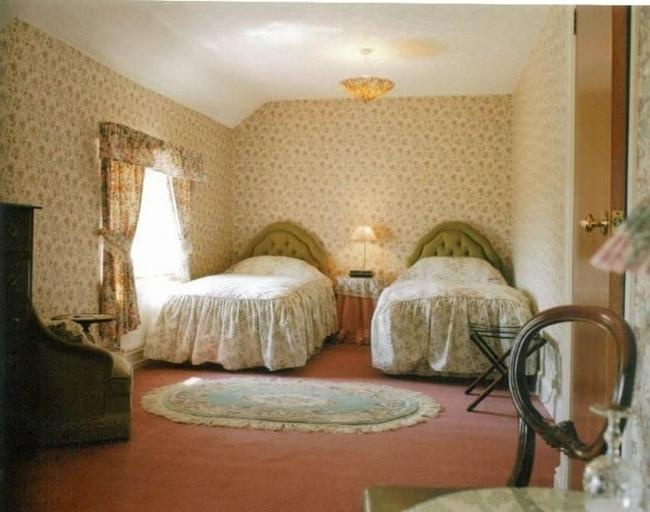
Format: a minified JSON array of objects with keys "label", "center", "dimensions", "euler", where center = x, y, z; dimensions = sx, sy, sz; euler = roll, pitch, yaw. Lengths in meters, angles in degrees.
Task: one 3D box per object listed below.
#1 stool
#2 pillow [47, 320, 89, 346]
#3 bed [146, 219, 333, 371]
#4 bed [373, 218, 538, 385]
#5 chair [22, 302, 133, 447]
[{"label":"stool","center":[1.408,0.938,4.522],"dimensions":[0.586,0.566,0.406],"euler":[8,9,-10]},{"label":"pillow","center":[-1.718,0.498,3.800],"dimensions":[0.188,0.063,0.193],"euler":[15,-5,21]},{"label":"bed","center":[-0.749,0.343,6.202],"dimensions":[1.572,1.348,2.203],"euler":[2,7,13]},{"label":"bed","center":[1.240,0.359,5.977],"dimensions":[1.308,1.309,2.297],"euler":[-1,4,17]},{"label":"chair","center":[-1.648,0.835,3.931],"dimensions":[0.838,0.866,0.863],"euler":[-12,-17,27]}]
